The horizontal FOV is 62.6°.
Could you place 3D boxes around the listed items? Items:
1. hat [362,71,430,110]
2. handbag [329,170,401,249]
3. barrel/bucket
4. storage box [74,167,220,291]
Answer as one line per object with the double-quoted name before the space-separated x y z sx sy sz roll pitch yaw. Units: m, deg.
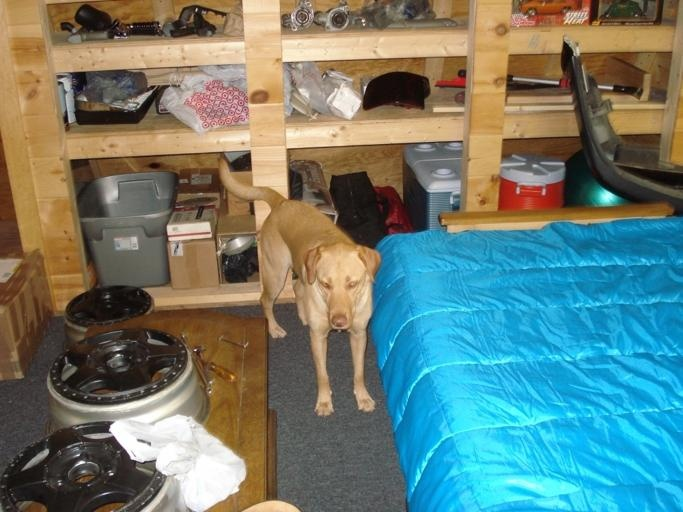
"hat" 0.330 -1.053 3.502 0.425 0.106 0.401 -2 59 7
"handbag" 0.144 -0.328 3.920 0.625 0.175 0.509 -5 55 -26
"barrel/bucket" 1.229 -0.491 3.688 0.460 0.245 0.439 -3 33 2
"storage box" -1.244 -0.217 3.691 0.789 0.510 0.895 -1 23 -4
